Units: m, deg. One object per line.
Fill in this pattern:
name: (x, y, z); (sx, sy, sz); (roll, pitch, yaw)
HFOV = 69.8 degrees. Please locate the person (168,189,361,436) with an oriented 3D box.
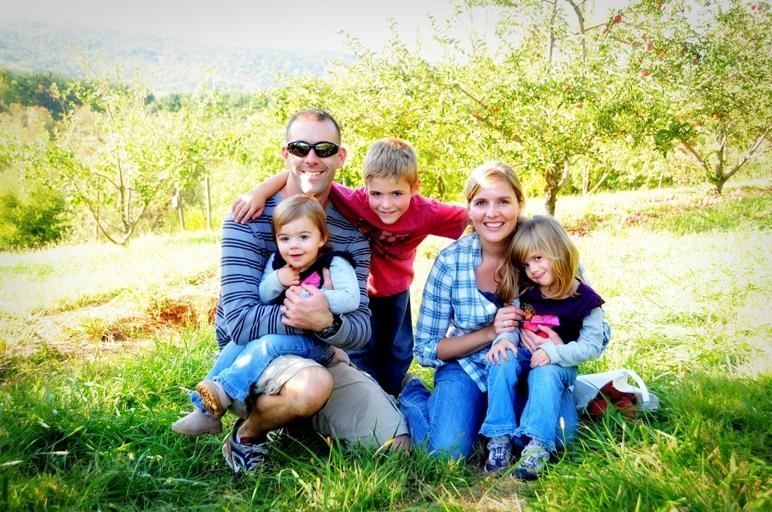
person: (-0.776, 0.379, 3.854); (1.161, 1.597, 0.503); (0, 8, -20)

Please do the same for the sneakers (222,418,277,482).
sneakers: (-0.943, 1.280, 3.765); (0.198, 0.176, 0.441); (-24, 22, 19)

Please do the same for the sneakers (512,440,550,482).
sneakers: (0.958, 1.363, 3.652); (0.216, 0.237, 0.181); (5, 8, 13)

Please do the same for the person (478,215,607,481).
person: (1.064, 0.598, 3.902); (0.717, 1.733, 0.848); (9, 10, 39)

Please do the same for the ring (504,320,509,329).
ring: (0.874, 0.505, 4.025); (0.037, 0.038, 0.011); (-5, -9, 38)

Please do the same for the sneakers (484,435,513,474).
sneakers: (0.764, 1.355, 3.762); (0.155, 0.261, 0.167); (5, 4, 14)

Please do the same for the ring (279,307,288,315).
ring: (-0.697, 0.377, 3.760); (0.040, 0.054, 0.020); (-3, -4, 23)

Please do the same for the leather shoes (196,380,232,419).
leather shoes: (-1.108, 0.921, 3.597); (0.104, 0.189, 0.241); (-38, 28, -25)
